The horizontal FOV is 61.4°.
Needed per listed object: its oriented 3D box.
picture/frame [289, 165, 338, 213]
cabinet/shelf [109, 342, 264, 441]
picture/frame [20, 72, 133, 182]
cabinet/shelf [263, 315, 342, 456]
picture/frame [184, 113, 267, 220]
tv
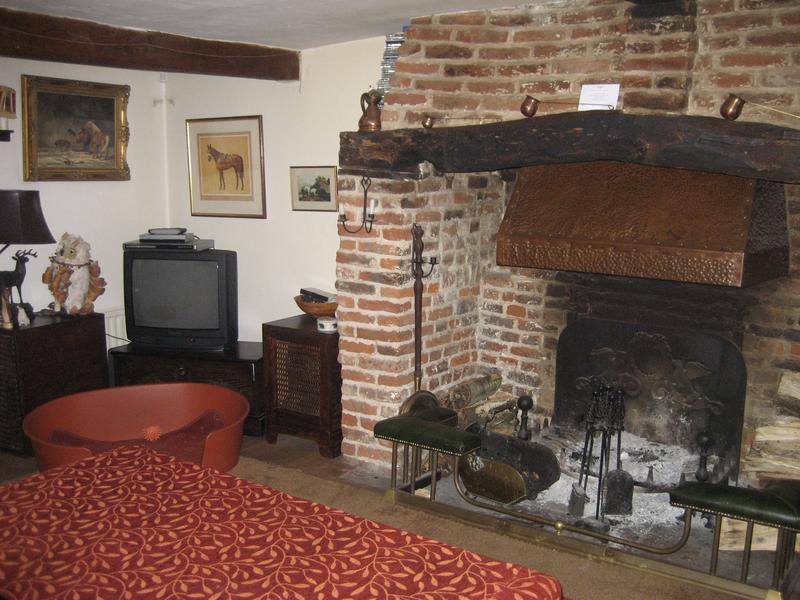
[{"bbox_3d":[-0.666,-0.857,5.220,0.019,0.345,0.475,7,12,43],"label":"picture/frame"},{"bbox_3d":[-1.594,0.649,5.306,1.321,0.594,0.359,6,10,16],"label":"cabinet/shelf"},{"bbox_3d":[-2.637,-1.393,5.402,0.098,0.806,0.961,7,9,39],"label":"picture/frame"},{"bbox_3d":[-0.703,0.586,4.939,0.536,0.695,0.419,2,1,7],"label":"cabinet/shelf"},{"bbox_3d":[-1.486,-1.134,5.689,0.031,0.755,0.793,7,14,33],"label":"picture/frame"},{"bbox_3d":[-1.757,-0.013,5.519,0.894,0.812,0.493,1,6,7],"label":"tv"}]
